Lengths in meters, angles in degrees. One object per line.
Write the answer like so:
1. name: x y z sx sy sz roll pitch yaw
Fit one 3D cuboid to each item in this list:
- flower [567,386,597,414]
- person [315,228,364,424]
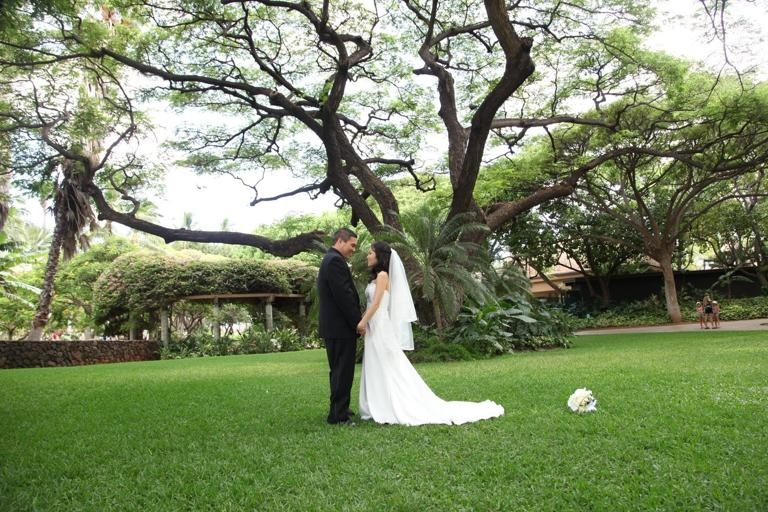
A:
1. flower: 3.170 2.313 8.425 0.450 0.314 0.386 1 11 18
2. person: -0.710 1.242 8.781 0.714 3.340 1.043 -4 11 -8
